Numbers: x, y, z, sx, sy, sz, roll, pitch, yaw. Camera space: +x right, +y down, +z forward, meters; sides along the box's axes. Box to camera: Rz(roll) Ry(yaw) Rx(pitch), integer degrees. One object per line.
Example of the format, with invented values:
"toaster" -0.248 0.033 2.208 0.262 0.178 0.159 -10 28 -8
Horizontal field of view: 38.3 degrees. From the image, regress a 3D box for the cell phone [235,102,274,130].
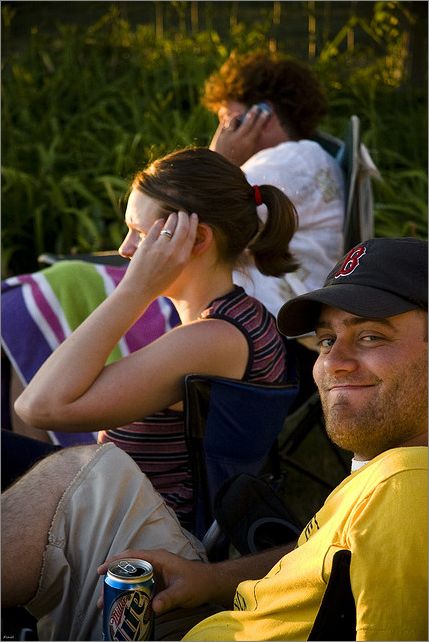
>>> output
"cell phone" 0.214 -1.032 3.060 0.140 0.119 0.045 5 0 25
